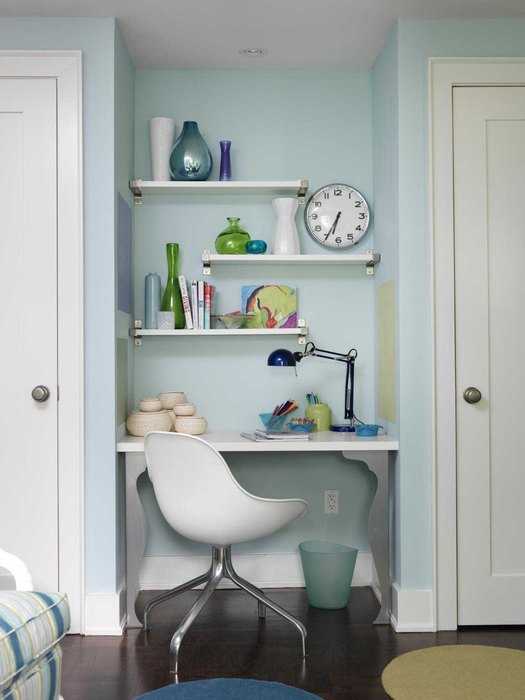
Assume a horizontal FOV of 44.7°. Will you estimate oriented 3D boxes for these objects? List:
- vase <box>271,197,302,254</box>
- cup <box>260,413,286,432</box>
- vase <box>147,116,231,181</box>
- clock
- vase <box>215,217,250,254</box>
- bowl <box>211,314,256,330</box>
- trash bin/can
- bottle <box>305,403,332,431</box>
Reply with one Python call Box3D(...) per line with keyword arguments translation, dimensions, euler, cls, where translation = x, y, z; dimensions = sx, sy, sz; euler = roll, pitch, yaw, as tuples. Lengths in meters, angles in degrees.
Box3D(translation=(0.101, -0.541, 2.852), dimensions=(0.115, 0.272, 0.210), euler=(-1, -2, 1), cls="vase")
Box3D(translation=(0.045, 0.316, 2.796), dimensions=(0.083, 0.083, 0.070), euler=(8, 6, -42), cls="cup")
Box3D(translation=(-0.308, -0.881, 2.856), dimensions=(0.367, 0.291, 0.216), euler=(2, 5, -2), cls="vase")
Box3D(translation=(0.337, -0.625, 2.910), dimensions=(0.265, 0.302, 0.036), euler=(1, 1, 5), cls="clock")
Box3D(translation=(-0.128, -0.495, 2.798), dimensions=(0.144, 0.164, 0.153), euler=(2, 5, 9), cls="vase")
Box3D(translation=(-0.139, -0.134, 2.845), dimensions=(0.171, 0.084, 0.209), euler=(-1, -2, -4), cls="bowl")
Box3D(translation=(0.265, 0.899, 2.670), dimensions=(0.217, 0.264, 0.256), euler=(-1, -3, 17), cls="trash bin/can")
Box3D(translation=(0.245, 0.285, 2.772), dimensions=(0.099, 0.109, 0.106), euler=(0, -3, 10), cls="bottle")
